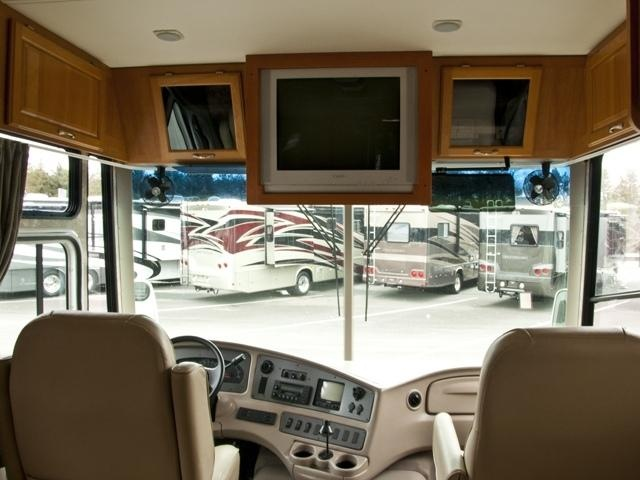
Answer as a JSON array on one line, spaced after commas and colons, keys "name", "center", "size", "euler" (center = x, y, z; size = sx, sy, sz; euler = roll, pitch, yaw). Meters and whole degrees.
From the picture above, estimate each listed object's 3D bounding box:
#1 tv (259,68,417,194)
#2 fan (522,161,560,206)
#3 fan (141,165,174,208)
[{"name": "tv", "center": [0.111, -0.554, 2.924], "size": [1.018, 0.809, 0.575], "euler": [0, 5, 4]}, {"name": "fan", "center": [1.361, -0.351, 3.213], "size": [0.182, 0.250, 0.065], "euler": [19, 19, 14]}, {"name": "fan", "center": [-1.061, -0.356, 3.465], "size": [0.213, 0.227, 0.079], "euler": [0, 1, 26]}]
